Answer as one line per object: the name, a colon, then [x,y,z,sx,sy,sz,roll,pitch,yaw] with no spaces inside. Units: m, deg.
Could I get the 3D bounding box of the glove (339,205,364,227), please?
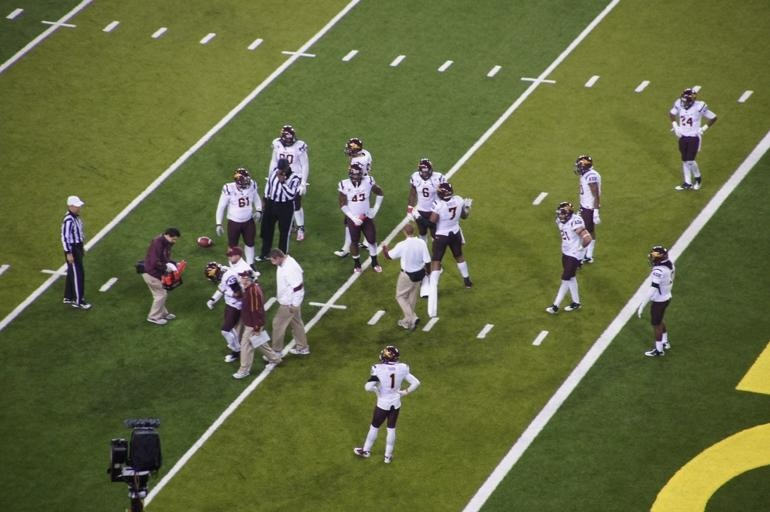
glove: [-0.683,-0.818,26.365,0.445,0.398,0.157,-17,5,25]

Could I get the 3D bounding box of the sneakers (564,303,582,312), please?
sneakers: [3.749,1.025,25.731,0.392,0.154,0.126,-3,28,1]

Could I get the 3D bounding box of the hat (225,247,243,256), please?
hat: [-2.892,-0.070,24.672,0.287,0.128,0.183,6,12,6]

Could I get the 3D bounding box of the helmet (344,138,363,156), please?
helmet: [-0.728,-2.280,27.053,0.464,0.360,0.343,6,26,9]

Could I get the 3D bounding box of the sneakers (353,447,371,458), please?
sneakers: [-0.403,3.487,23.049,0.283,0.114,0.137,18,18,-6]

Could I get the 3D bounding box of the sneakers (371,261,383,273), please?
sneakers: [-0.148,0.229,26.866,0.124,0.093,0.248,-19,39,-24]

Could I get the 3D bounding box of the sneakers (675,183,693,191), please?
sneakers: [6.611,-1.509,28.628,0.415,0.155,0.135,2,33,2]

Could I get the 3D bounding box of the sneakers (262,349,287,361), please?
sneakers: [-2.095,1.877,24.622,0.495,0.187,0.142,3,49,-16]

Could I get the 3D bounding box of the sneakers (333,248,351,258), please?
sneakers: [-0.908,-0.068,27.273,0.326,0.119,0.167,-13,40,-36]

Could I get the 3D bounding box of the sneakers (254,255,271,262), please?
sneakers: [-2.551,0.048,27.092,0.320,0.115,0.109,-2,44,-8]

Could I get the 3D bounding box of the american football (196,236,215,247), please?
american football: [-3.768,-0.287,27.284,0.200,0.155,0.282,-1,-4,15]

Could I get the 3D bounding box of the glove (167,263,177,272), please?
glove: [-4.155,0.213,25.122,0.187,0.077,0.261,-19,41,-10]

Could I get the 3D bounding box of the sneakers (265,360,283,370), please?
sneakers: [-2.126,2.046,24.658,0.339,0.145,0.167,-17,42,-8]

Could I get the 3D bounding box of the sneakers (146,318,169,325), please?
sneakers: [-4.499,1.289,25.619,0.336,0.121,0.121,1,77,-6]

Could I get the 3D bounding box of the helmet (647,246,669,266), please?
helmet: [5.169,-0.003,24.316,0.442,0.344,0.344,4,14,12]

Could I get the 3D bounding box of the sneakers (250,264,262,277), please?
sneakers: [-2.588,0.300,25.743,0.235,0.093,0.166,43,6,2]

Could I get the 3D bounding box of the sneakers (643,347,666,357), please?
sneakers: [5.160,1.828,24.694,0.426,0.154,0.140,4,18,5]

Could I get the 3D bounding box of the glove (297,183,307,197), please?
glove: [-1.755,-1.391,27.378,0.107,0.246,0.195,7,6,-4]

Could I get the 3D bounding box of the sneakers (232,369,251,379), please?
sneakers: [-2.730,2.232,24.497,0.361,0.148,0.129,-8,75,-15]

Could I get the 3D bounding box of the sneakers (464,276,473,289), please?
sneakers: [1.696,0.545,26.312,0.125,0.230,0.243,-5,34,30]

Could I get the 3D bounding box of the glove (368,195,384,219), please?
glove: [-0.143,-0.990,26.544,0.166,0.498,0.357,-1,41,-42]

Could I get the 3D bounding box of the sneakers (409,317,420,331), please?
sneakers: [0.577,1.340,25.355,0.148,0.125,0.309,29,90,49]

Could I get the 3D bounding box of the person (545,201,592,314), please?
person: [3.630,0.068,25.507,0.886,2.013,1.411,1,44,15]

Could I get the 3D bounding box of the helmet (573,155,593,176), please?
helmet: [4.105,-1.846,26.657,0.326,0.478,0.393,-10,42,3]

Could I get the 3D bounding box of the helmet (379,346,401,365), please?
helmet: [0.083,1.715,22.458,0.257,0.258,0.285,14,48,26]

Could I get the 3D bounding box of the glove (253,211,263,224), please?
glove: [-2.687,-0.817,26.818,0.214,0.173,0.173,4,3,33]

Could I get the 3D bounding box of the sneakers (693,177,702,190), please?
sneakers: [6.926,-1.580,28.573,0.118,0.120,0.328,1,18,20]

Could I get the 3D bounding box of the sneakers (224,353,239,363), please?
sneakers: [-2.961,1.947,24.788,0.286,0.096,0.148,-4,24,-24]

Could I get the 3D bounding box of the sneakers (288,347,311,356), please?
sneakers: [-1.647,1.834,24.948,0.408,0.152,0.147,5,39,6]

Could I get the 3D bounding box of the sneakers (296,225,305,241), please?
sneakers: [-1.824,-0.457,27.706,0.133,0.154,0.357,2,20,4]

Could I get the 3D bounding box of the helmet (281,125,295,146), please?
helmet: [-2.084,-2.598,27.405,0.363,0.370,0.416,-5,40,-11]

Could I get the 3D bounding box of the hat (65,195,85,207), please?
hat: [-6.424,-1.116,26.654,0.472,0.199,0.301,6,26,11]

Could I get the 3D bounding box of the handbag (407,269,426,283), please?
handbag: [0.639,0.384,25.116,0.304,0.219,0.225,-20,15,22]

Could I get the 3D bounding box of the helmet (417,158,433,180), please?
helmet: [0.836,-1.824,26.308,0.326,0.377,0.382,-5,59,9]

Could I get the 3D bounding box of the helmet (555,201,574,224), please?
helmet: [3.551,-0.893,25.395,0.322,0.376,0.537,-5,41,8]

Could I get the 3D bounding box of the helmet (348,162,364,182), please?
helmet: [-0.589,-1.671,26.317,0.314,0.346,0.375,0,7,-2]

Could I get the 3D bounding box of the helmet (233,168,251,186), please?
helmet: [-2.909,-1.590,26.259,0.299,0.302,0.320,-15,42,-4]

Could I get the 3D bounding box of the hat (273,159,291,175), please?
hat: [-2.087,-1.805,26.429,0.354,0.265,0.269,1,74,-3]

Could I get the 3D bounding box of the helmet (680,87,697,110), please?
helmet: [6.710,-3.469,28.739,0.408,0.430,0.487,9,18,40]

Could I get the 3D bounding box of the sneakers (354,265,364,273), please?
sneakers: [-0.553,0.275,26.815,0.161,0.094,0.253,1,9,-5]

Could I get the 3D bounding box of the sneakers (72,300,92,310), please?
sneakers: [-6.074,0.984,25.886,0.375,0.149,0.137,3,37,0]

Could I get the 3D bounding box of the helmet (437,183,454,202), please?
helmet: [1.216,-1.237,25.826,0.276,0.441,0.350,-15,42,-2]
